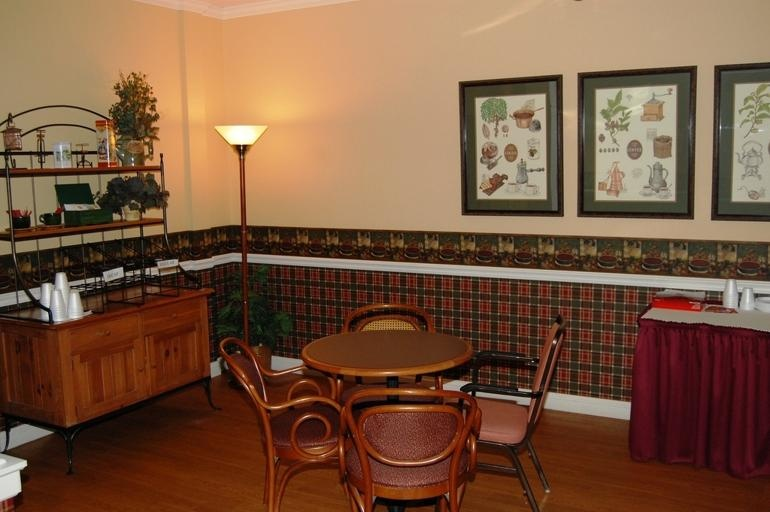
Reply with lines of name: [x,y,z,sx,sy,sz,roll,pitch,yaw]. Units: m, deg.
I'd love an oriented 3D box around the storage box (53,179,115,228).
storage box: [-2.747,-0.478,5.080,0.391,0.353,0.422,-11,17,-38]

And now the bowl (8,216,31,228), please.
bowl: [-3.068,-0.285,4.678,0.097,0.075,0.100,0,-1,0]

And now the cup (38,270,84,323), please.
cup: [-2.670,0.342,4.742,0.377,0.445,0.384,0,0,0]

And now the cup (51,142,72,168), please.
cup: [-2.846,-0.885,4.900,0.141,0.219,0.135,-1,13,0]

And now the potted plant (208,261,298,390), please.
potted plant: [-1.748,0.785,7.085,1.204,1.829,1.180,-1,3,-2]

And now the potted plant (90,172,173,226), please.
potted plant: [-2.408,-0.558,5.355,0.462,0.280,0.483,-7,1,-3]

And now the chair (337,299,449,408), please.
chair: [0.025,0.823,5.465,0.998,0.828,0.981,-1,1,3]

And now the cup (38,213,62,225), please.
cup: [-2.918,-0.331,4.855,0.134,0.090,0.104,-2,7,-22]

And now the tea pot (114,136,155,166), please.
tea pot: [-2.380,-0.988,5.318,0.203,0.206,0.282,2,2,37]

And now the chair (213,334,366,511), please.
chair: [-0.741,1.163,4.476,1.264,1.745,1.042,-3,11,-8]
